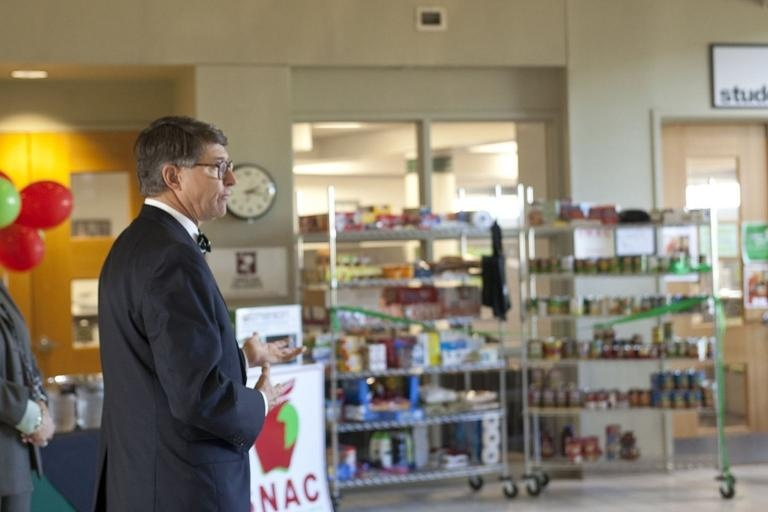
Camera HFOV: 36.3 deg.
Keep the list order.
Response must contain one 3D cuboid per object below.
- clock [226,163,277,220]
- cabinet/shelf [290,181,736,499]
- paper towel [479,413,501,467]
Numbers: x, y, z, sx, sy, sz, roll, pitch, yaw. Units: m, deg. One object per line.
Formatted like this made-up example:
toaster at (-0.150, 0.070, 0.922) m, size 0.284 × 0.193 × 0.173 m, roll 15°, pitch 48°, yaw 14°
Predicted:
clock at (-1.180, -0.549, 10.236) m, size 0.490 × 0.493 × 0.050 m, roll 0°, pitch -2°, yaw -15°
cabinet/shelf at (1.088, 0.766, 10.371) m, size 3.551 × 2.431 × 0.962 m, roll -3°, pitch -1°, yaw -4°
paper towel at (0.920, 1.609, 10.155) m, size 0.080 × 0.350 × 0.339 m, roll -1°, pitch -3°, yaw 12°
